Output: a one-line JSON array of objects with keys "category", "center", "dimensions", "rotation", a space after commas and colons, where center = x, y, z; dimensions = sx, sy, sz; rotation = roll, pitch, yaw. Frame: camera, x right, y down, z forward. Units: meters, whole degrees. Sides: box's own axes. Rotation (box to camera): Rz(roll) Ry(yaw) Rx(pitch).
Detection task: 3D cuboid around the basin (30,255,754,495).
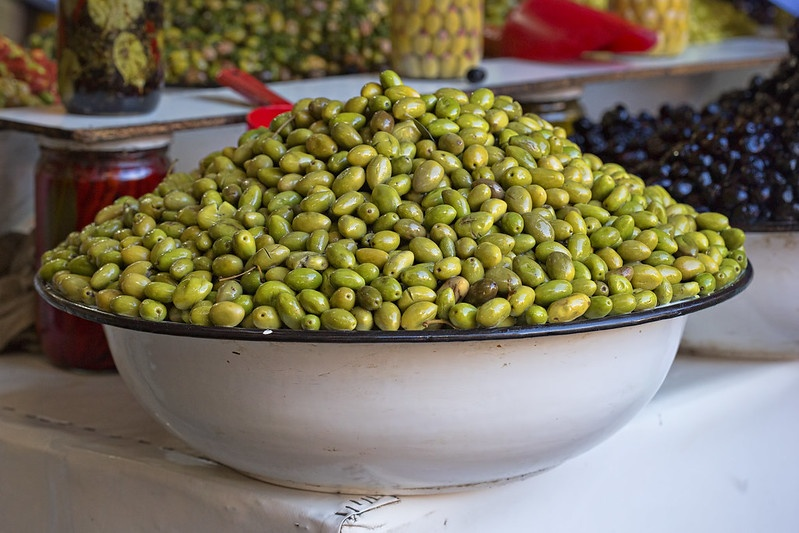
[{"category": "basin", "center": [0.116, 0.210, 1.283], "dimensions": [0.845, 0.200, 0.830], "rotation": [-5, -7, -1]}]
